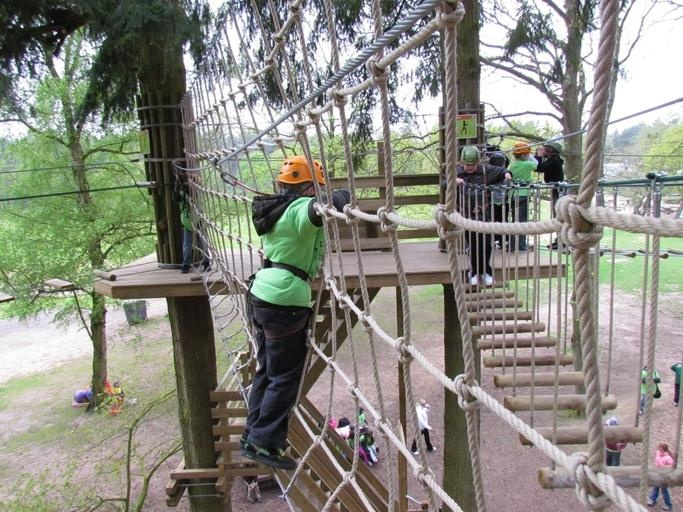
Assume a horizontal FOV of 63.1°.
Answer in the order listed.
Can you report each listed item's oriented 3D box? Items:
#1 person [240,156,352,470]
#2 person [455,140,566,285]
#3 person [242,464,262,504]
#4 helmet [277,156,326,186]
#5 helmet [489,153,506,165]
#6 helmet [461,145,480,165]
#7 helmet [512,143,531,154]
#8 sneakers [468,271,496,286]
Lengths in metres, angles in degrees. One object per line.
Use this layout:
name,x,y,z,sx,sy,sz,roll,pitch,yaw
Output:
person,-0.461,0.629,4.444,0.755,2.220,0.312,1,8,15
person,1.904,-0.543,6.670,0.965,1.668,3.384,1,8,20
person,-1.423,3.740,8.945,0.317,0.443,0.995,4,-21,-14
helmet,-0.310,-0.668,4.412,0.352,0.198,0.252,-15,21,-41
helmet,2.050,-1.284,7.288,0.181,0.197,0.150,-11,46,21
helmet,1.500,-1.207,6.489,0.150,0.234,0.121,4,-34,11
helmet,2.378,-1.403,7.367,0.175,0.114,0.269,-3,7,13
sneakers,1.619,0.271,6.260,0.364,0.150,0.223,-2,4,27
